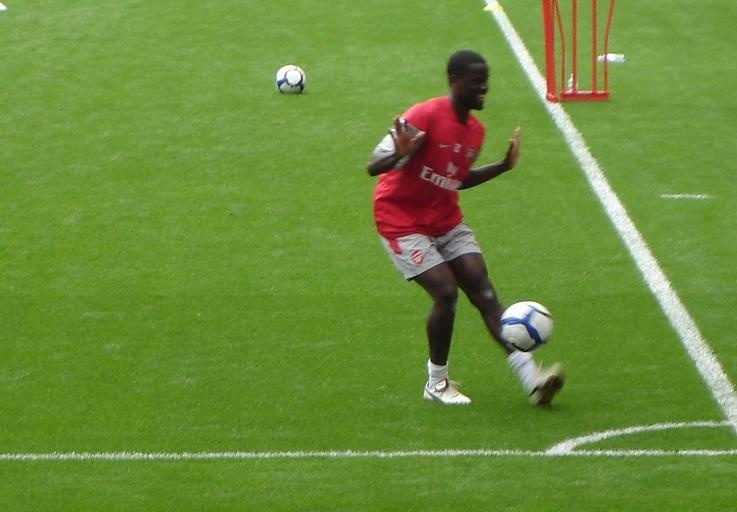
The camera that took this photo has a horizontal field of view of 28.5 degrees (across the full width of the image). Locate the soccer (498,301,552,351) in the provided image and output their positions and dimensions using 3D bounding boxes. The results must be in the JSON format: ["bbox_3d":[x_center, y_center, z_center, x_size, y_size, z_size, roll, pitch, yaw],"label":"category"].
[{"bbox_3d":[1.306,0.562,11.737,0.408,0.372,0.425,-14,70,9],"label":"soccer"}]

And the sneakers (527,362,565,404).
[{"bbox_3d":[1.445,1.042,11.692,0.301,0.380,0.201,-11,28,-12],"label":"sneakers"}]

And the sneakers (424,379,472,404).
[{"bbox_3d":[0.659,1.115,11.917,0.371,0.148,0.177,5,8,22],"label":"sneakers"}]

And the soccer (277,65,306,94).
[{"bbox_3d":[-0.886,-1.994,16.255,0.332,0.310,0.318,2,28,-29],"label":"soccer"}]
